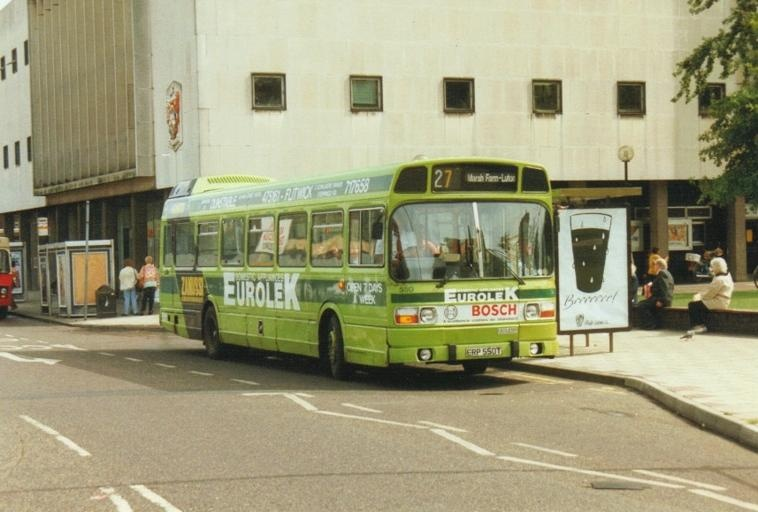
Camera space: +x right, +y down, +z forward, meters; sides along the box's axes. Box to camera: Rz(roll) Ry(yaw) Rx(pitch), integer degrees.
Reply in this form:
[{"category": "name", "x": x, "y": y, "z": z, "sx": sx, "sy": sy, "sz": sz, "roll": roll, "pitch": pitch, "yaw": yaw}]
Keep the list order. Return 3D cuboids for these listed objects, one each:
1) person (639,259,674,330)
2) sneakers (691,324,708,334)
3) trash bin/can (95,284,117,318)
[{"category": "person", "x": 7.511, "y": 1.054, "z": 32.431, "sx": 0.863, "sy": 1.969, "sz": 0.497, "roll": 4, "pitch": 11, "yaw": 24}, {"category": "sneakers", "x": 8.256, "y": 1.900, "z": 30.799, "sx": 0.283, "sy": 0.156, "sz": 0.384, "roll": -3, "pitch": 3, "yaw": -13}, {"category": "trash bin/can", "x": -9.872, "y": 1.619, "z": 43.149, "sx": 0.678, "sy": 1.141, "sz": 0.376, "roll": -4, "pitch": 11, "yaw": -23}]
